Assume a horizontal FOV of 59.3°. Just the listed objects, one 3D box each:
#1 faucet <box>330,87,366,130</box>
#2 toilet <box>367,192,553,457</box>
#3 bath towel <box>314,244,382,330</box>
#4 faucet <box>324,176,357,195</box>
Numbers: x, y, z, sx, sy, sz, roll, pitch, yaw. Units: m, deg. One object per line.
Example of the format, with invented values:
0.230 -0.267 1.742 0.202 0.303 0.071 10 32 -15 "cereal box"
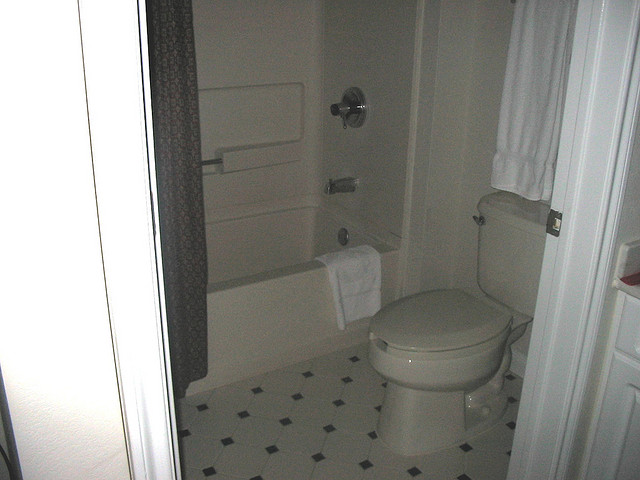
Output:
0.159 -0.671 2.865 0.073 0.168 0.201 -10 7 -41 "faucet"
0.554 0.309 2.236 0.811 0.859 0.469 -9 18 -23 "toilet"
0.160 0.212 2.627 0.349 0.316 0.176 -14 23 -35 "bath towel"
0.108 -0.283 2.860 0.140 0.050 0.079 -10 27 -23 "faucet"
